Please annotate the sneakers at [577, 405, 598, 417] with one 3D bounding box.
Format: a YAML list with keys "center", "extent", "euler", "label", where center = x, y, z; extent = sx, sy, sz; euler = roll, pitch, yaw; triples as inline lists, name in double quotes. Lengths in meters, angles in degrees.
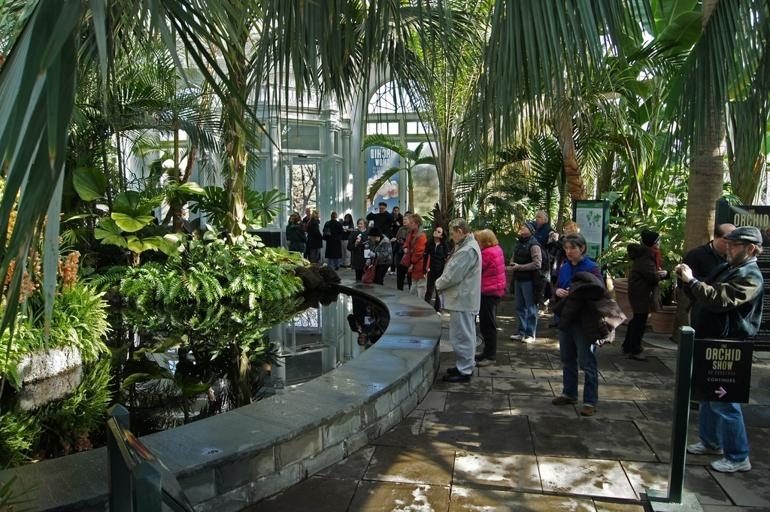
- center: [1.933, 1.494, 5.453]
  extent: [0.158, 0.087, 0.159]
  euler: [4, 7, 21]
  label: "sneakers"

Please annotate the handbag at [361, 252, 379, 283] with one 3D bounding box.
- center: [-0.332, 0.244, 12.198]
  extent: [0.310, 0.750, 0.584]
  euler: [5, -5, -11]
  label: "handbag"

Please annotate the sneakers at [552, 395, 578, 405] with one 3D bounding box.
- center: [1.805, 1.463, 5.725]
  extent: [0.219, 0.099, 0.096]
  euler: [2, 0, 3]
  label: "sneakers"

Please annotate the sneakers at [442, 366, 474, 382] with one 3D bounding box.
- center: [0.810, 1.356, 6.482]
  extent: [0.269, 0.119, 0.153]
  euler: [7, -2, 1]
  label: "sneakers"

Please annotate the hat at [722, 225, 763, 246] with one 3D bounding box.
- center: [2.858, -0.169, 4.524]
  extent: [0.230, 0.112, 0.168]
  euler: [13, 7, 33]
  label: "hat"

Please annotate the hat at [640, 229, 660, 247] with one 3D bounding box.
- center: [3.551, -0.228, 7.615]
  extent: [0.191, 0.244, 0.363]
  euler: [5, 7, 29]
  label: "hat"

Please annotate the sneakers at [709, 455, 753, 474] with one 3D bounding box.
- center: [2.680, 1.630, 4.428]
  extent: [0.290, 0.146, 0.122]
  euler: [2, -3, 6]
  label: "sneakers"

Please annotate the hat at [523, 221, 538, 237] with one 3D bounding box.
- center: [2.368, -0.442, 9.314]
  extent: [0.193, 0.239, 0.198]
  euler: [-35, -16, -1]
  label: "hat"

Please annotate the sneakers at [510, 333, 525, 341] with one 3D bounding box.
- center: [1.968, 1.230, 8.469]
  extent: [0.209, 0.098, 0.078]
  euler: [-3, 8, 35]
  label: "sneakers"

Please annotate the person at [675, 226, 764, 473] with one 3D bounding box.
- center: [2.692, 0.718, 4.615]
  extent: [0.602, 1.926, 0.712]
  euler: [5, 7, 31]
  label: "person"

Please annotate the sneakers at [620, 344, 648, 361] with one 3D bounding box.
- center: [3.274, 1.325, 7.527]
  extent: [0.121, 0.159, 0.353]
  euler: [1, -5, -32]
  label: "sneakers"
